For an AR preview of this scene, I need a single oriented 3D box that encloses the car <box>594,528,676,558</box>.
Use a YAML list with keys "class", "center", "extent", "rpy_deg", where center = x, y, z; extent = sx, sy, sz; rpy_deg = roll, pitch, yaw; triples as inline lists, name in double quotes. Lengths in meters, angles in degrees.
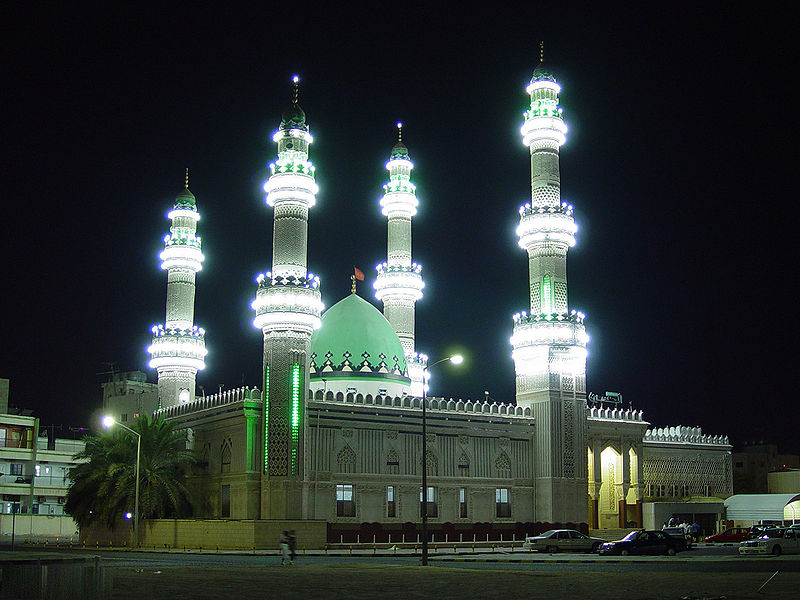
- class: "car"
  center: [10.741, 11.063, 52.836]
  extent: [3.186, 0.960, 1.364]
  rpy_deg: [5, -17, -14]
